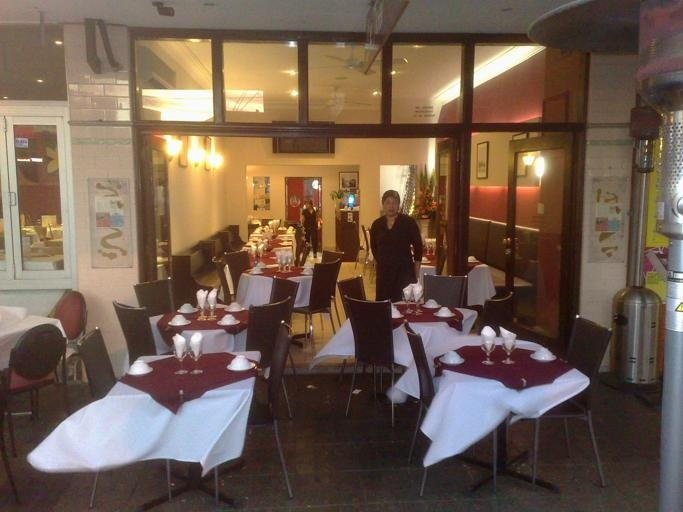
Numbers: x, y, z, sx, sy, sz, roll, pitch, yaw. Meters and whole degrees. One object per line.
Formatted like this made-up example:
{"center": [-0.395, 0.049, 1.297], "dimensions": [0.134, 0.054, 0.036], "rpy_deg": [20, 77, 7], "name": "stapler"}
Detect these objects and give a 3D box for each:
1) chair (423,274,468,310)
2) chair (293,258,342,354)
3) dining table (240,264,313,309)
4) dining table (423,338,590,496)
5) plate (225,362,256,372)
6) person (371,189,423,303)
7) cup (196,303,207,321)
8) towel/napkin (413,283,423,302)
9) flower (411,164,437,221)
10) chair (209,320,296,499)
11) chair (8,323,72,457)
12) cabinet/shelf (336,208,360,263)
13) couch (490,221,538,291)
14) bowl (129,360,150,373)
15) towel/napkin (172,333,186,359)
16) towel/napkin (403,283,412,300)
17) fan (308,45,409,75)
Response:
{"center": [1.148, 0.369, 6.579], "dimensions": [0.352, 0.651, 0.396], "rpy_deg": [3, 2, 17], "name": "chair"}
{"center": [-0.453, 0.586, 7.639], "dimensions": [0.638, 0.940, 0.628], "rpy_deg": [0, 1, -19], "name": "chair"}
{"center": [-0.690, 0.520, 7.662], "dimensions": [0.828, 0.329, 0.869], "rpy_deg": [16, -14, 14], "name": "dining table"}
{"center": [1.281, 1.310, 4.810], "dimensions": [1.182, 0.967, 1.388], "rpy_deg": [2, 7, 0], "name": "dining table"}
{"center": [-0.762, 0.832, 4.459], "dimensions": [0.219, 0.048, 0.113], "rpy_deg": [1, 8, -3], "name": "plate"}
{"center": [0.612, -0.109, 6.740], "dimensions": [0.592, 1.250, 0.456], "rpy_deg": [2, 9, 3], "name": "person"}
{"center": [-1.360, 0.555, 5.754], "dimensions": [0.122, 0.140, 0.126], "rpy_deg": [1, 1, 0], "name": "cup"}
{"center": [0.772, 0.373, 6.057], "dimensions": [0.114, 0.172, 0.069], "rpy_deg": [5, 7, 35], "name": "towel/napkin"}
{"center": [1.706, -1.338, 12.116], "dimensions": [0.512, 1.028, 0.461], "rpy_deg": [5, 10, 36], "name": "flower"}
{"center": [-0.787, 1.168, 4.975], "dimensions": [0.777, 1.348, 0.724], "rpy_deg": [2, 7, -3], "name": "chair"}
{"center": [-2.772, 1.087, 5.350], "dimensions": [0.531, 1.102, 1.112], "rpy_deg": [-3, 10, -27], "name": "chair"}
{"center": [0.163, -0.485, 14.126], "dimensions": [0.447, 1.261, 1.319], "rpy_deg": [-1, 4, -2], "name": "cabinet/shelf"}
{"center": [2.310, 0.020, 7.936], "dimensions": [0.539, 0.711, 1.018], "rpy_deg": [-1, 5, -6], "name": "couch"}
{"center": [-1.512, 0.827, 4.421], "dimensions": [0.099, 0.053, 0.098], "rpy_deg": [0, 4, 0], "name": "bowl"}
{"center": [-1.244, 0.699, 4.539], "dimensions": [0.083, 0.247, 0.290], "rpy_deg": [-1, 9, -16], "name": "towel/napkin"}
{"center": [0.653, 0.371, 6.064], "dimensions": [0.105, 0.154, 0.149], "rpy_deg": [-1, -4, 13], "name": "towel/napkin"}
{"center": [-0.041, -2.165, 6.492], "dimensions": [0.637, 0.325, 0.159], "rpy_deg": [1, 9, -6], "name": "fan"}
